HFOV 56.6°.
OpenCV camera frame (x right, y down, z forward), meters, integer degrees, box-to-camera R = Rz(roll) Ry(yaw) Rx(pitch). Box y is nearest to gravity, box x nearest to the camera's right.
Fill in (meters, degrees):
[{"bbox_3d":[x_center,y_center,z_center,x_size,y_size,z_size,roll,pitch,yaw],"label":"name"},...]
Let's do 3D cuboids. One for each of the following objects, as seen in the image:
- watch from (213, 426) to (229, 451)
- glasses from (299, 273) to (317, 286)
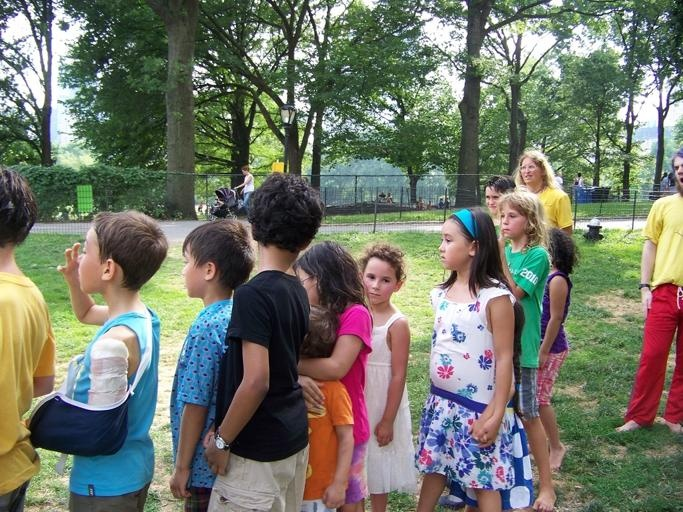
[{"bbox_3d":[-0.635,0.983,3.388,0.067,0.117,0.107,-5,-10,20],"label":"watch"},{"bbox_3d":[-0.217,0.145,3.961,0.027,0.091,0.084,0,-8,-39],"label":"glasses"}]
